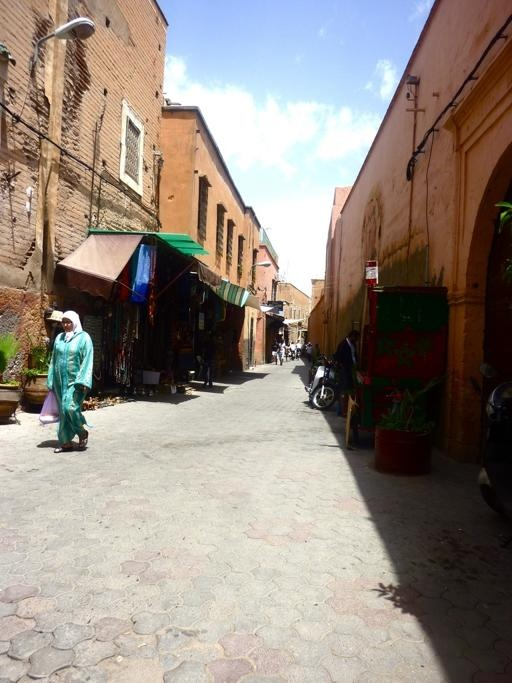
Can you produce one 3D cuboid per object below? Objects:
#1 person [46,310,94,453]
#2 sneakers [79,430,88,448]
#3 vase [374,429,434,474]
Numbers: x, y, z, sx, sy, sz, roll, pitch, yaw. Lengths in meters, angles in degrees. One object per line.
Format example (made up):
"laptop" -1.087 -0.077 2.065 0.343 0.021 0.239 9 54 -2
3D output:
"person" -2.205 0.581 5.468 0.491 1.069 0.431 2 -2 -16
"sneakers" -2.097 1.180 5.628 0.074 0.249 0.078 3 0 -9
"vase" 1.549 1.161 5.012 0.411 0.412 0.479 3 -5 -2
